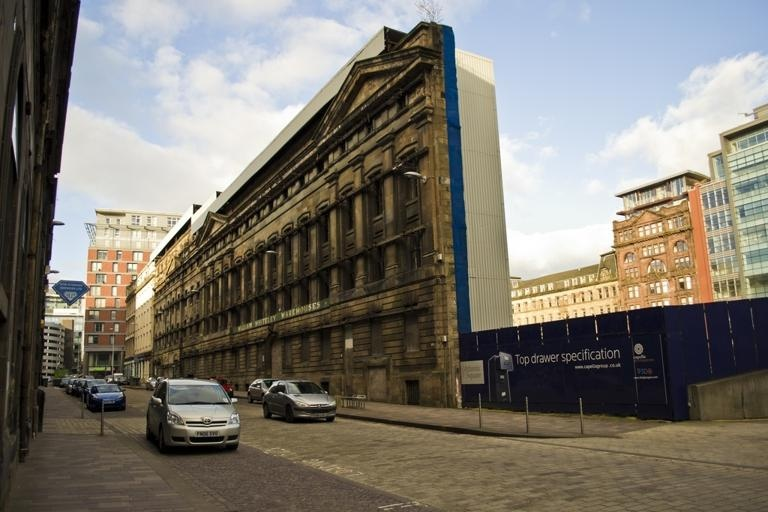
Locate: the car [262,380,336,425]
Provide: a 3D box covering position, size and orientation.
[{"bbox_3d":[-3.999,6.600,29.135,1.812,1.909,4.418,10,-19,-36],"label":"car"}]

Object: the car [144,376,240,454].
[{"bbox_3d":[-6.254,5.029,20.621,3.098,2.338,1.992,-14,-19,37],"label":"car"}]

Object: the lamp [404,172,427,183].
[{"bbox_3d":[1.782,-4.436,36.002,0.977,0.388,0.694,16,-1,-32],"label":"lamp"}]

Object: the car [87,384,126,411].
[{"bbox_3d":[-15.057,7.691,34.979,1.611,1.550,2.640,8,-18,-31],"label":"car"}]
